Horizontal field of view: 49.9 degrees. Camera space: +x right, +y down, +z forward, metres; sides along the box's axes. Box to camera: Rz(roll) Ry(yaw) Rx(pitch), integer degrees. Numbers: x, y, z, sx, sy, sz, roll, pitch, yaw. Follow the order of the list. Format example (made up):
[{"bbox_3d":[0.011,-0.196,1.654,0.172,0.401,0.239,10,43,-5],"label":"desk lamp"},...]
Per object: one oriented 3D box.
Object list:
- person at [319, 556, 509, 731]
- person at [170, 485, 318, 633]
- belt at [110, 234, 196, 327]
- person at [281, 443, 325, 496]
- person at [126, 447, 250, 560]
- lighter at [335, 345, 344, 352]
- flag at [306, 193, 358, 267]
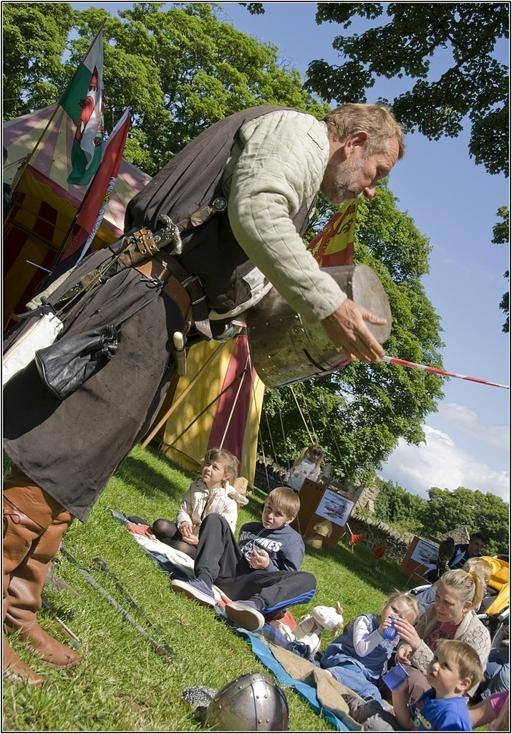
[{"bbox_3d":[0.923,1.546,3.463,0.680,0.978,0.649,37,-30,-17],"label":"person"},{"bbox_3d":[0.005,1.143,3.491,0.709,1.015,0.971,15,-31,13],"label":"person"},{"bbox_3d":[-0.262,-0.210,1.436,0.145,0.244,0.059,-3,-20,-18],"label":"belt"},{"bbox_3d":[0.963,2.006,11.049,0.602,1.082,0.359,19,19,-15],"label":"person"},{"bbox_3d":[-0.473,0.968,4.035,0.820,0.795,0.547,16,-6,-24],"label":"person"},{"bbox_3d":[0.220,-0.044,1.457,0.016,0.012,0.021,17,-20,10],"label":"lighter"},{"bbox_3d":[1.139,-1.859,7.508,0.663,1.678,0.121,10,-35,15],"label":"flag"}]
